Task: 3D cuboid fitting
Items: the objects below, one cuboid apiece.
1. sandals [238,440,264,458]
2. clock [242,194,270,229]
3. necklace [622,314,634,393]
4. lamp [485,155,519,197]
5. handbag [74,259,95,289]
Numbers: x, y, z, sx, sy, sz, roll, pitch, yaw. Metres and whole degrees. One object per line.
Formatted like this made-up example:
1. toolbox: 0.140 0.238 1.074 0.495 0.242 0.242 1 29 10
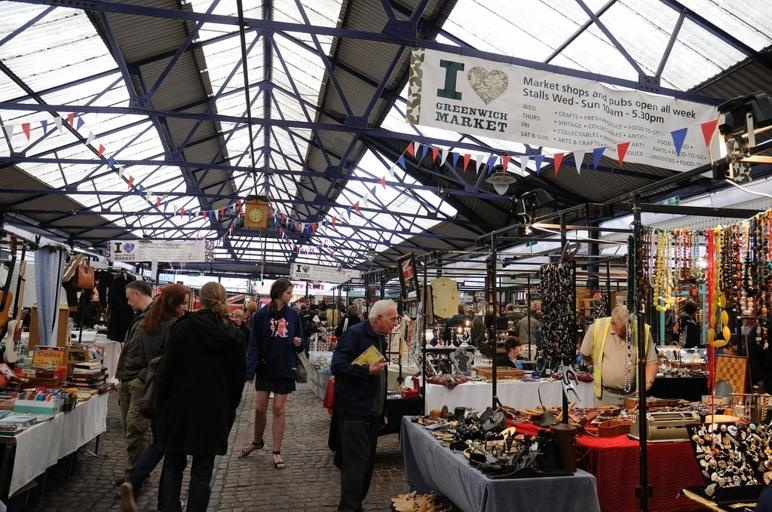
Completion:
1. sandals: -1.915 2.747 8.593 0.360 0.140 0.142 2 -19 -11
2. clock: -3.720 -1.279 17.350 0.574 0.790 0.482 5 11 -7
3. necklace: 3.034 1.183 7.560 0.119 0.986 0.113 7 -10 -3
4. lamp: 1.876 -1.357 9.910 0.448 0.700 0.426 3 2 24
5. handbag: -5.089 0.320 10.137 0.152 0.584 0.492 -4 -4 17
